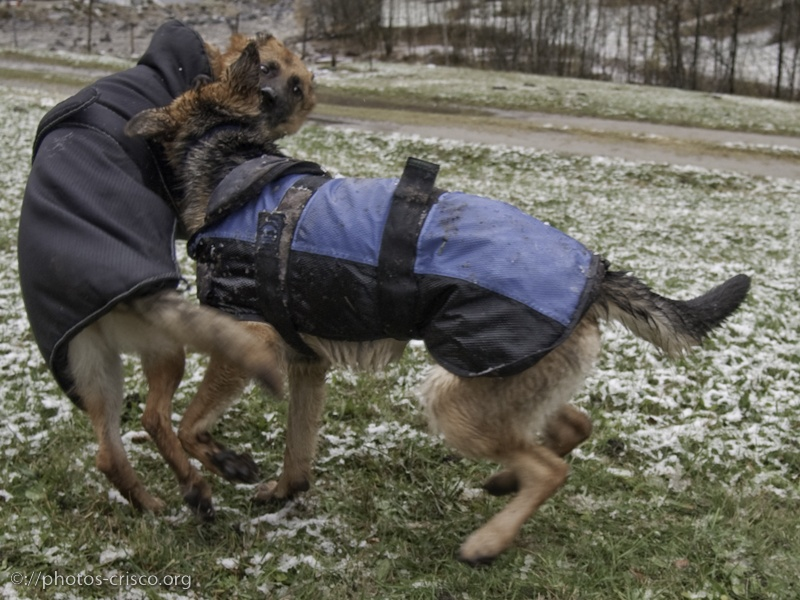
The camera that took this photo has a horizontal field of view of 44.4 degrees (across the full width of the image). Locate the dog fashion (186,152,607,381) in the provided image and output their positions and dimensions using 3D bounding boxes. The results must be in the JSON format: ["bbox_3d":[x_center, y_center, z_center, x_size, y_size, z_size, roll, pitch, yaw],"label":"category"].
[{"bbox_3d":[0.025,-0.254,5.976,2.070,0.818,1.289,2,12,10],"label":"dog fashion"}]
